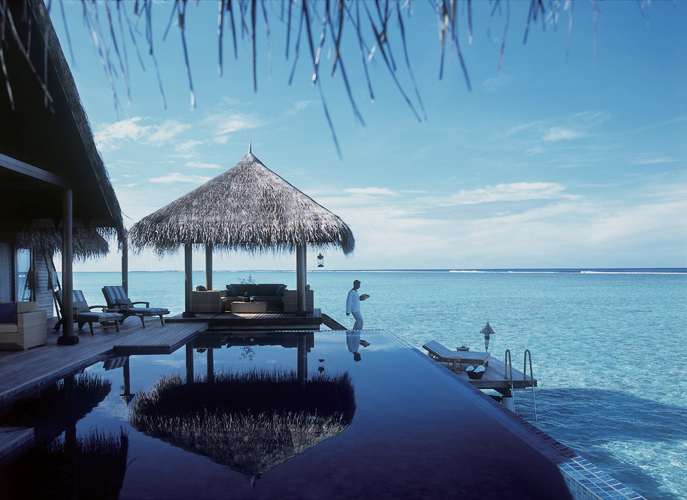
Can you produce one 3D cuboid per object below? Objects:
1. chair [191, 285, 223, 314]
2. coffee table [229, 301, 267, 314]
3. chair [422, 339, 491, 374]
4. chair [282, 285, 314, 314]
[{"bbox_3d":[-3.615,1.358,12.236,0.513,0.471,0.961,-1,-1,-9],"label":"chair"},{"bbox_3d":[-2.449,1.479,11.918,0.893,0.302,0.346,3,-1,-11],"label":"coffee table"},{"bbox_3d":[2.595,2.411,10.461,1.020,0.417,0.667,-1,5,17],"label":"chair"},{"bbox_3d":[-1.194,1.311,11.980,0.994,0.781,0.527,-1,-9,8],"label":"chair"}]
